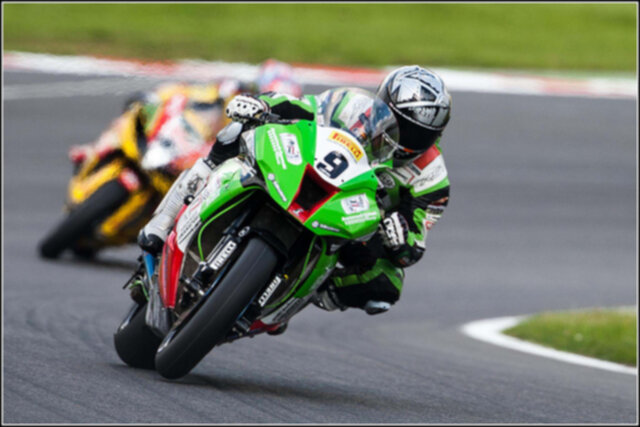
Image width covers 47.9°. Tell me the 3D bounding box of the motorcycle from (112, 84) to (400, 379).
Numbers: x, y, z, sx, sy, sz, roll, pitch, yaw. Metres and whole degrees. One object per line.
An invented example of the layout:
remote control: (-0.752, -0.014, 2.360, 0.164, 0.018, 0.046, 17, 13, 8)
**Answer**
motorcycle: (-0.543, 0.299, 5.111, 1.499, 2.180, 0.702, 22, 0, 30)

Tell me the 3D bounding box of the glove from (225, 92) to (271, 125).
glove: (-0.517, -0.734, 5.196, 0.265, 0.180, 0.114, 1, -21, 14)
